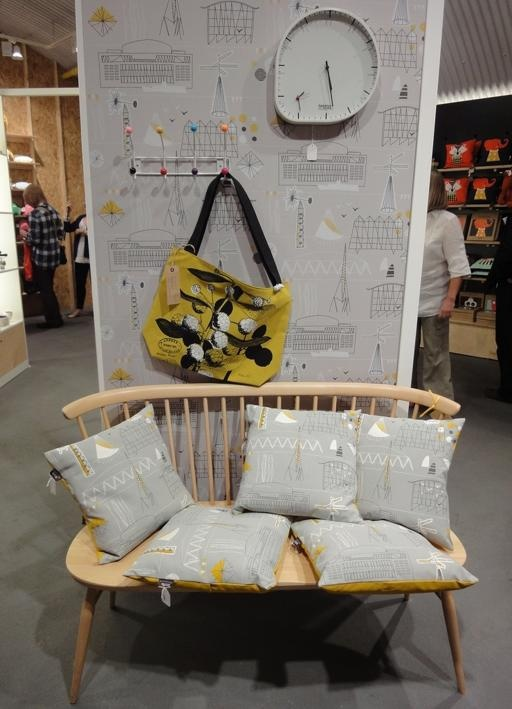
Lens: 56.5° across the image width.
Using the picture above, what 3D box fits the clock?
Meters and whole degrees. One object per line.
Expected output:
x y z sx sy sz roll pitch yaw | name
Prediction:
0.198 -0.822 1.347 0.333 0.360 0.049 0 26 0 | clock

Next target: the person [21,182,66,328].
-2.495 -1.129 5.708 0.409 1.671 0.507 -4 12 -21 | person

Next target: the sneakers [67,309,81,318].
-2.553 -0.549 6.735 0.094 0.117 0.276 9 -6 -2 | sneakers

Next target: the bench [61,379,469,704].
0.025 0.556 1.367 0.807 0.527 0.302 -1 15 0 | bench
